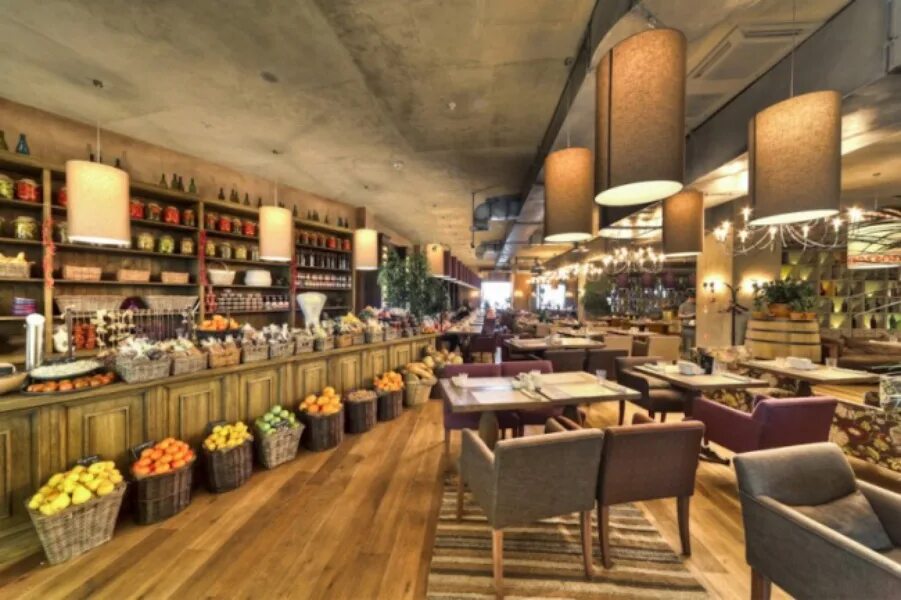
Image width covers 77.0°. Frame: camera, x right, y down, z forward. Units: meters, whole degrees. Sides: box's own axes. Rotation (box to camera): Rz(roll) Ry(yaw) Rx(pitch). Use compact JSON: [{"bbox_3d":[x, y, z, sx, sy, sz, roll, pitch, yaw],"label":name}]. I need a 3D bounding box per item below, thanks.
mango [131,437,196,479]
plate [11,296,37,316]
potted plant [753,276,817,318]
[{"bbox_3d":[-2.986,1.613,5.966,0.561,0.335,0.472,7,0,24],"label":"mango"},{"bbox_3d":[-5.275,0.080,6.999,0.255,0.228,0.219,-2,-1,-37],"label":"plate"},{"bbox_3d":[4.971,0.019,8.373,0.750,0.545,0.741,15,-4,15],"label":"potted plant"}]
